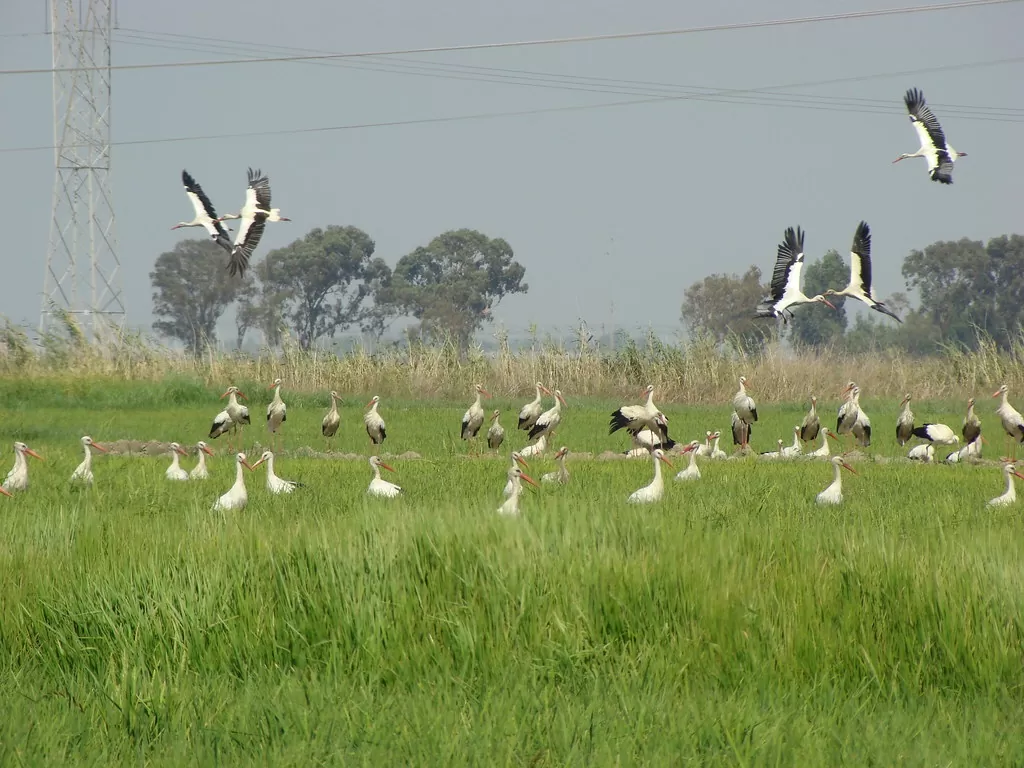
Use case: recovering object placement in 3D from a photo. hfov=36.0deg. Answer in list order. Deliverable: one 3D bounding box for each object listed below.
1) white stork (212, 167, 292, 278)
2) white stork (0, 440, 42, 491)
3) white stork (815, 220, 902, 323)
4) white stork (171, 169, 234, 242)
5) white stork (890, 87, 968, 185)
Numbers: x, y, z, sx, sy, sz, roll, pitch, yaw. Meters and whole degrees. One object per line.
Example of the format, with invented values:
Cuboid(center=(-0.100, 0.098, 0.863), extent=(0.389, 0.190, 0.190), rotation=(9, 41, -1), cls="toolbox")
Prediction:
Cuboid(center=(-5.128, -3.516, 31.803), extent=(1.283, 0.248, 3.087), rotation=(-1, -24, -16), cls="white stork")
Cuboid(center=(-7.579, 1.272, 23.825), extent=(0.376, 0.725, 1.542), rotation=(-2, 2, -13), cls="white stork")
Cuboid(center=(6.521, -1.728, 30.491), extent=(1.617, 2.959, 0.856), rotation=(0, 9, -30), cls="white stork")
Cuboid(center=(-6.472, -3.333, 32.455), extent=(1.139, 0.484, 2.309), rotation=(-7, -9, -11), cls="white stork")
Cuboid(center=(8.290, -5.016, 31.399), extent=(0.835, 1.970, 1.861), rotation=(-1, 2, 14), cls="white stork")
